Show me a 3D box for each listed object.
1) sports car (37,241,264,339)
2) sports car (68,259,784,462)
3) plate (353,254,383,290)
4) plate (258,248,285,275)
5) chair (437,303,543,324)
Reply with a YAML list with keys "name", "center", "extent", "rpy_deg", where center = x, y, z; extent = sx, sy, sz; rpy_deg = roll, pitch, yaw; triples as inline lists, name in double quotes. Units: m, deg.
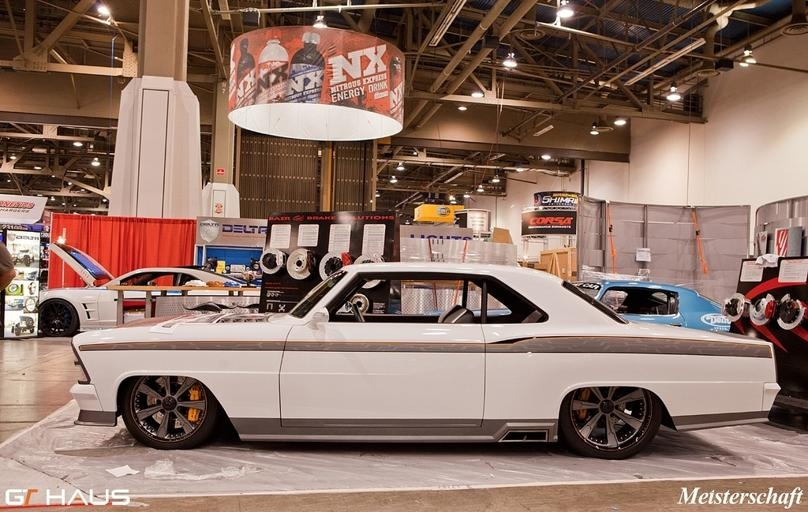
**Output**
- name: "sports car"
  center: [-5.714, 0.814, 12.863]
  extent: [4.695, 2.157, 1.905]
  rpy_deg: [2, -11, -10]
- name: "sports car"
  center: [0.257, 1.234, 6.730]
  extent: [6.846, 1.771, 2.900]
  rpy_deg: [2, -4, 0]
- name: "plate"
  center: [-0.565, 0.226, 8.529]
  extent: [0.526, 0.507, 0.120]
  rpy_deg: [-2, -3, 16]
- name: "plate"
  center: [-2.161, 0.090, 9.153]
  extent: [0.374, 0.404, 0.149]
  rpy_deg: [0, -8, 0]
- name: "chair"
  center: [0.903, 0.659, 6.174]
  extent: [0.692, 0.218, 0.394]
  rpy_deg: [1, -2, 1]
